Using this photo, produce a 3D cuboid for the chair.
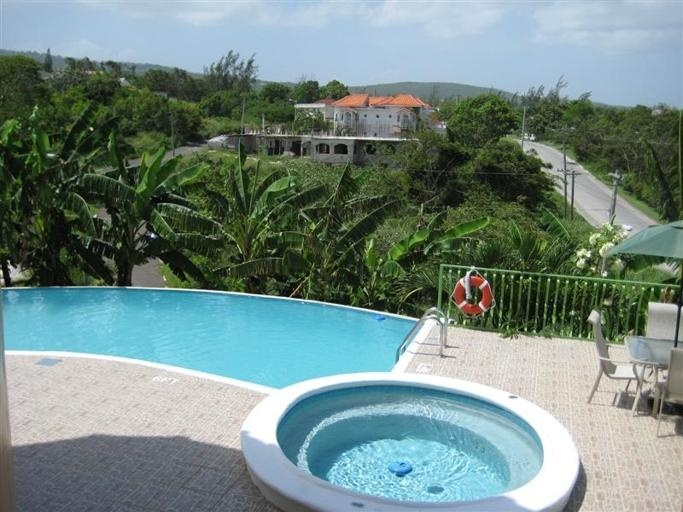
[{"bbox_3d":[4.485,1.652,7.175,1.527,1.537,1.266,-3,19,14],"label":"chair"}]
